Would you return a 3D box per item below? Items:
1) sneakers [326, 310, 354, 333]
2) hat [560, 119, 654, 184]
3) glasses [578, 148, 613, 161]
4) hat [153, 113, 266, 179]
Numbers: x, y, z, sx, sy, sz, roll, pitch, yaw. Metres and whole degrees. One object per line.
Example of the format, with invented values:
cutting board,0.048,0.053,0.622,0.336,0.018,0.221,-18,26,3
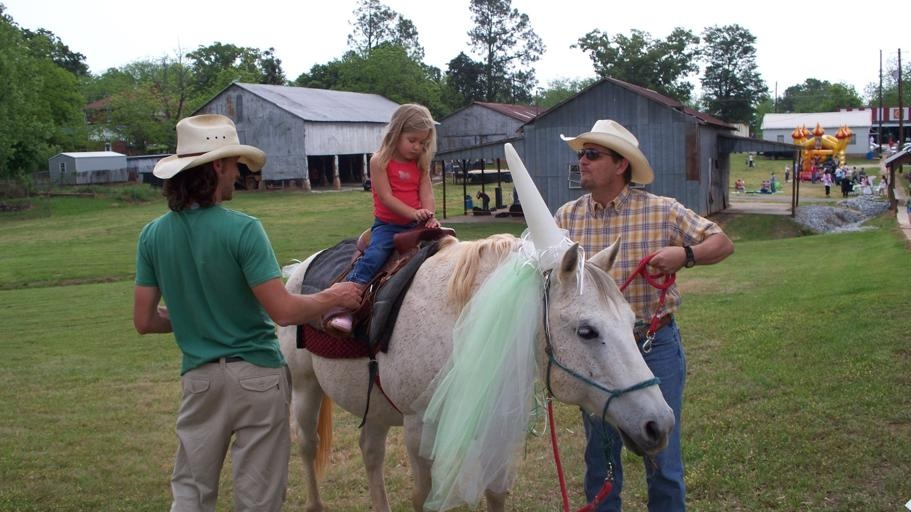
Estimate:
sneakers,-1.465,0.835,8.523,0.228,0.134,0.334,30,12,-15
hat,2.033,-1.617,9.018,1.047,0.416,0.836,13,3,16
glasses,1.773,-1.337,8.750,0.205,0.090,0.266,-5,-3,42
hat,-3.184,-1.431,8.636,1.242,0.791,1.386,-3,11,8
